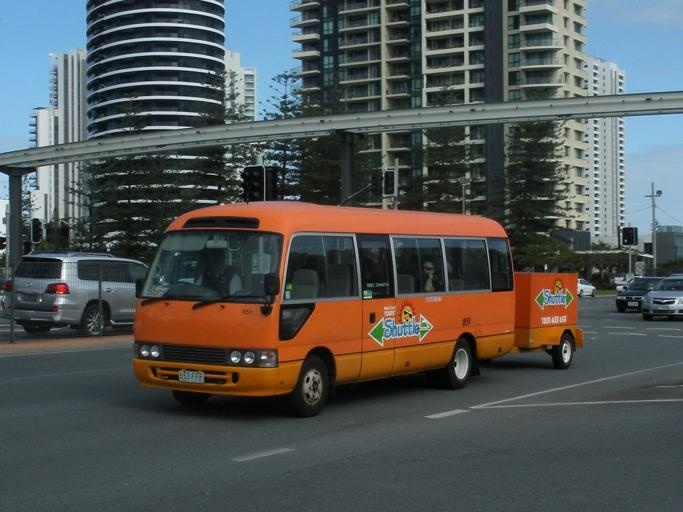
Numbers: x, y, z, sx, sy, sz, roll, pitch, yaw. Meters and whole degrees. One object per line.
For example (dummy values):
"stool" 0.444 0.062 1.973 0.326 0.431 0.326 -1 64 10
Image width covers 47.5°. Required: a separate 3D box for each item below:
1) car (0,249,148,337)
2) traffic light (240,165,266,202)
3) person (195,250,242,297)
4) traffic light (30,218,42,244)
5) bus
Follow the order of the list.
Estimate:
"car" -7.726 1.125 22.640 3.296 2.470 1.180 -2 2 -45
"traffic light" -2.556 -2.122 22.700 0.671 1.055 0.801 -1 2 -6
"person" -1.702 0.243 10.856 0.705 0.654 0.264 0 2 35
"traffic light" -13.662 -1.156 34.752 0.408 1.097 3.242 -1 1 -22
"bus" -0.060 0.661 13.301 2.813 2.744 6.605 -3 -4 40
